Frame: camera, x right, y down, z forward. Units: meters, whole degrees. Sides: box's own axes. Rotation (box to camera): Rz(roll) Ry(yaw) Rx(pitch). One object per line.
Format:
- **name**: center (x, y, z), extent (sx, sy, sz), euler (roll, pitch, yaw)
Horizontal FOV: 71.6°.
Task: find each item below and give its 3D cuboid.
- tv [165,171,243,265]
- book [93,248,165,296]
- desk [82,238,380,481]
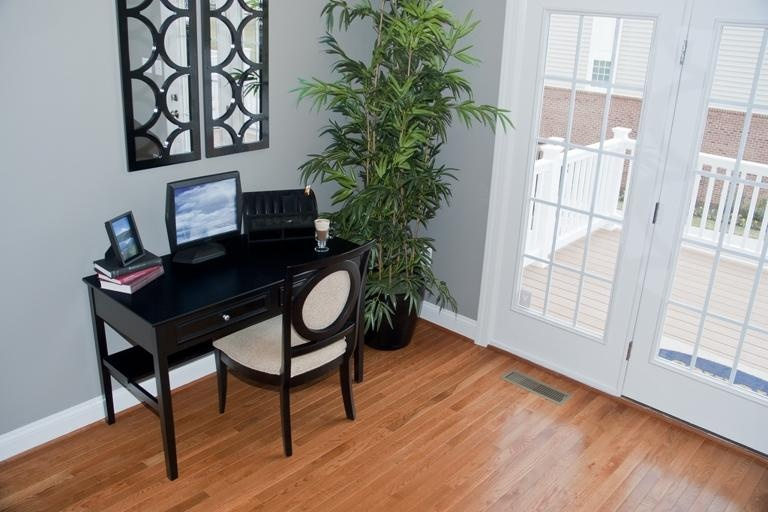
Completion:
- **tv**: center (-1.112, -0.236, 3.288), extent (0.182, 0.435, 0.479), euler (28, 36, 33)
- **book**: center (-1.499, 0.092, 3.040), extent (0.289, 0.070, 0.287), euler (21, 33, 28)
- **desk**: center (-1.050, 0.547, 3.358), extent (1.285, 1.076, 0.760), euler (-17, 27, -36)
